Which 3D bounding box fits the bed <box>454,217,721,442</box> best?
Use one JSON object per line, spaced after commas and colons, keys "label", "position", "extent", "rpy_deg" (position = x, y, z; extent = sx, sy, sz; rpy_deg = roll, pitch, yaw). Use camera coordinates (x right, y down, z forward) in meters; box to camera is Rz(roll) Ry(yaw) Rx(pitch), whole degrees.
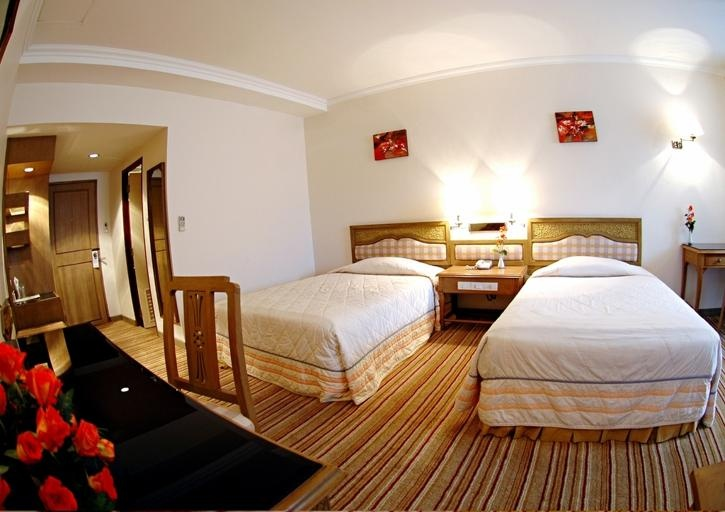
{"label": "bed", "position": [1.797, 0.429, 3.465], "extent": [1.187, 0.941, 1.770], "rpy_deg": [-1, 8, 31]}

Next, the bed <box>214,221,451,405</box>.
{"label": "bed", "position": [0.027, 0.486, 4.509], "extent": [1.470, 1.102, 2.055], "rpy_deg": [3, 9, 36]}
